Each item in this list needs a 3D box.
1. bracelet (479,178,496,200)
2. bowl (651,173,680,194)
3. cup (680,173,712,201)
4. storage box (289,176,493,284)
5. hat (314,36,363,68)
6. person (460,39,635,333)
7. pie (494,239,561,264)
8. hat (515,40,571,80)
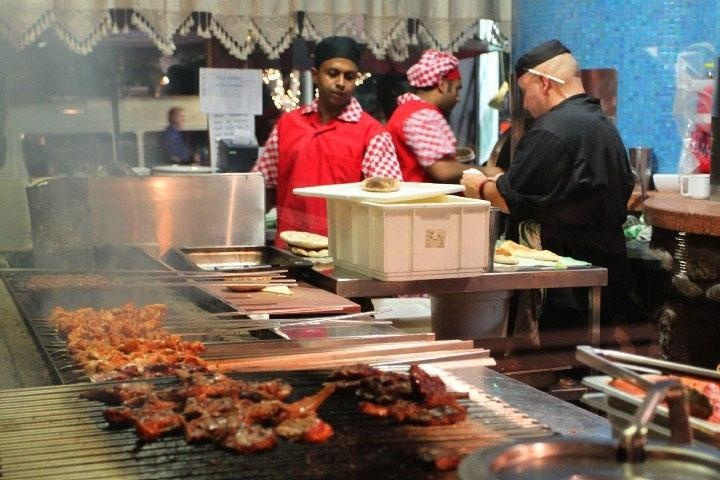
[{"bbox_3d":[0.811,-0.340,4.326,0.139,0.129,0.097,-7,-8,-16],"label":"bracelet"},{"bbox_3d":[2.304,-0.427,4.931,0.164,0.079,0.159,-1,5,0],"label":"bowl"},{"bbox_3d":[2.298,-0.373,4.461,0.226,0.145,0.169,1,3,29],"label":"cup"},{"bbox_3d":[0.196,-0.043,3.606,0.768,0.393,0.969,-2,6,-29],"label":"storage box"},{"bbox_3d":[-0.170,-1.366,4.666,0.260,0.194,0.311,-4,9,8],"label":"hat"},{"bbox_3d":[1.326,-0.303,4.327,0.984,1.928,0.765,7,16,25],"label":"person"},{"bbox_3d":[0.948,0.066,3.727,0.355,0.060,0.478,4,15,11],"label":"pie"},{"bbox_3d":[1.223,-1.274,4.632,0.447,0.165,0.384,-20,8,19],"label":"hat"}]
